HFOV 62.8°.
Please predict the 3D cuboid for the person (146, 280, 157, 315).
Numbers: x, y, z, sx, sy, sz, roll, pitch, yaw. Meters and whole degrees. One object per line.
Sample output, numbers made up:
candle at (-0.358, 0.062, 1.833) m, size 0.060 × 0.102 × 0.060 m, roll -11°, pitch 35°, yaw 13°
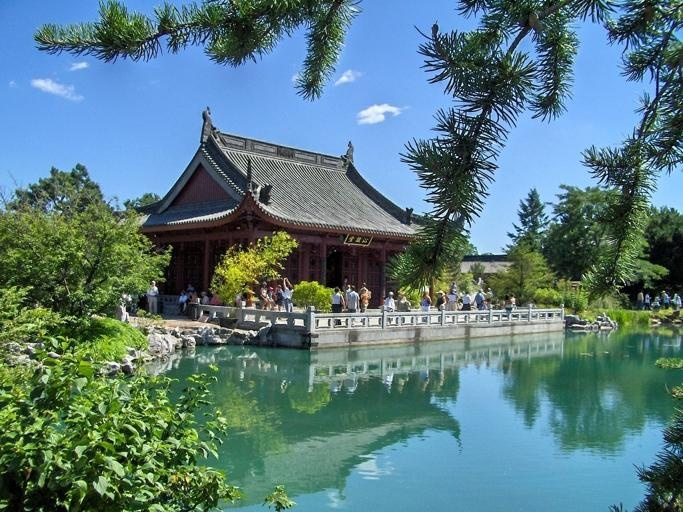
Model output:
person at (-6.333, 1.374, 18.738) m, size 0.319 × 0.977 × 0.770 m, roll 2°, pitch -1°, yaw -21°
